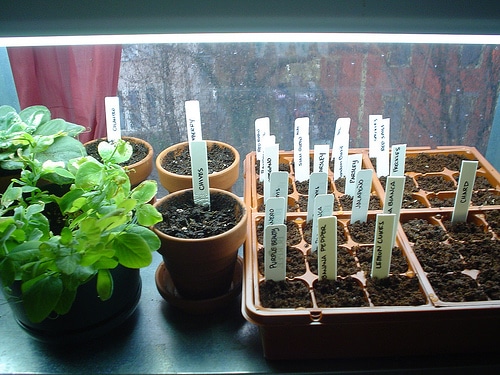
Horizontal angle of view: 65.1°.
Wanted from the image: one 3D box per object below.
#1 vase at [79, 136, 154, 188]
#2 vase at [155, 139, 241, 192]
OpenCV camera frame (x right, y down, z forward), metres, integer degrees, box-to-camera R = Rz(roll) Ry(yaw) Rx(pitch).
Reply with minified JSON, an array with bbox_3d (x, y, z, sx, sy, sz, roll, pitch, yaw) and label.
[{"bbox_3d":[-0.415,-0.086,1.277,0.250,0.118,0.214,1,31,-2],"label":"vase"},{"bbox_3d":[-0.181,-0.065,1.258,0.227,0.122,0.208,12,32,21],"label":"vase"}]
